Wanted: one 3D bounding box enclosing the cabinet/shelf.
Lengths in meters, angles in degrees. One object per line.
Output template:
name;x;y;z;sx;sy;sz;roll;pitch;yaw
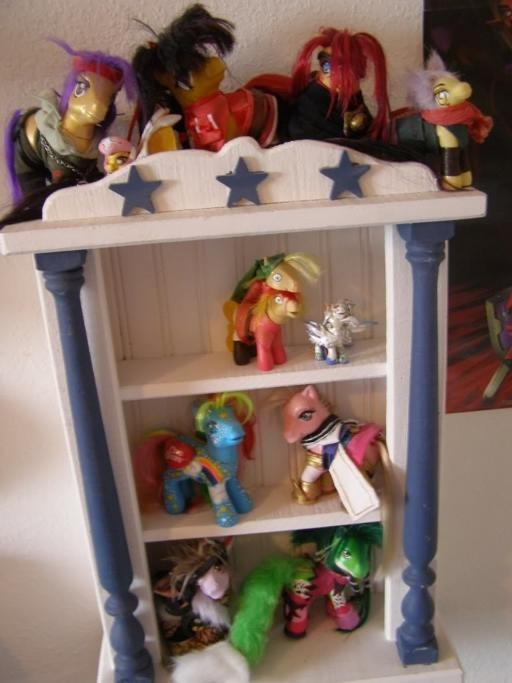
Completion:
cabinet/shelf;-0.013;0.159;1.146;0.753;1.009;0.478;-12;26;-11
